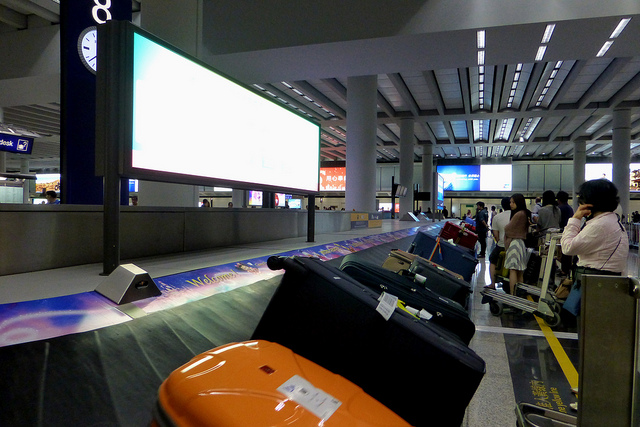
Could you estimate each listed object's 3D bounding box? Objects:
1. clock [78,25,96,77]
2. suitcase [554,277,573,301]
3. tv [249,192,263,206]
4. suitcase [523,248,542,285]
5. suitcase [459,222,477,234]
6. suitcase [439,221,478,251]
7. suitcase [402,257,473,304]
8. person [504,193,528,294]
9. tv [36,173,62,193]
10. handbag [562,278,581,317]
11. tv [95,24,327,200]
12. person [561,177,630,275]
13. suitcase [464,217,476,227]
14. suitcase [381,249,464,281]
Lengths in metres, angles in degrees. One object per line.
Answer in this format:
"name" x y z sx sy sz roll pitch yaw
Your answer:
"clock" -2.597 -1.834 3.962 0.073 0.524 0.176 2 1 27
"suitcase" 2.746 0.857 4.028 0.151 0.308 0.521 2 2 31
"tv" -4.262 -1.020 23.268 0.124 0.704 1.196 8 -3 17
"suitcase" 3.101 0.750 5.238 0.348 0.557 0.127 -8 19 -35
"suitcase" 2.716 0.251 6.576 0.302 0.071 0.294 16 9 -36
"suitcase" 1.948 0.310 5.061 0.575 0.414 0.183 21 -27 -35
"suitcase" 0.939 0.568 3.001 0.564 0.163 0.422 27 16 8
"person" 2.773 0.393 5.074 0.293 1.384 0.555 2 1 29
"tv" -18.298 -2.054 23.866 3.086 1.833 0.429 -1 -5 29
"handbag" 2.034 0.657 2.892 0.093 0.309 0.592 2 2 35
"tv" -0.663 -0.579 2.540 0.202 0.798 1.712 2 2 31
"person" 2.338 0.100 3.067 0.459 0.915 0.348 2 1 40
"suitcase" 4.730 0.221 11.348 0.173 0.118 0.756 14 0 41
"suitcase" 0.958 0.466 3.320 0.426 0.112 0.430 26 4 9
